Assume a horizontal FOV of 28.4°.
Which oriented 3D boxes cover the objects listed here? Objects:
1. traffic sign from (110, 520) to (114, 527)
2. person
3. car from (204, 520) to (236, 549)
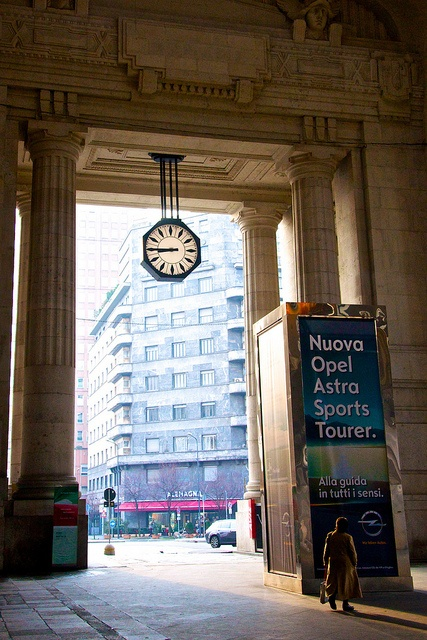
[{"bbox_3d":[-9.680,19.676,81.133,0.284,0.667,0.789,0,-11,-13],"label":"traffic sign"},{"bbox_3d":[1.704,3.303,11.412,0.469,1.168,0.588,-7,-12,17],"label":"person"},{"bbox_3d":[0.386,10.534,41.110,2.440,1.116,1.392,-6,-8,15],"label":"car"}]
